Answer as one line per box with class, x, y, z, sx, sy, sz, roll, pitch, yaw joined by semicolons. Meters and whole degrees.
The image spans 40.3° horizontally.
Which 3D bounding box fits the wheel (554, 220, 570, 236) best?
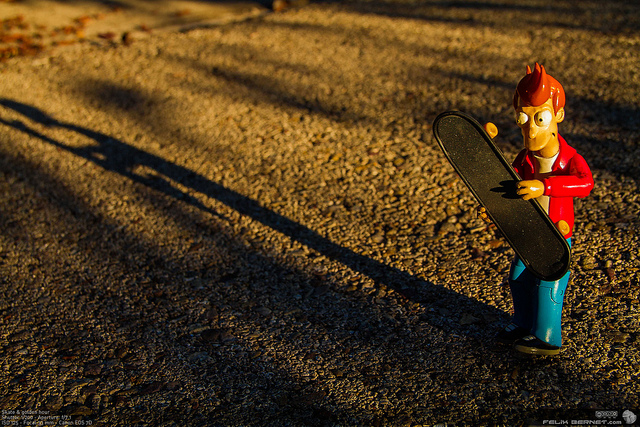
wheel;2.135;0.125;7.588;0.084;0.106;0.126;-10;5;31
